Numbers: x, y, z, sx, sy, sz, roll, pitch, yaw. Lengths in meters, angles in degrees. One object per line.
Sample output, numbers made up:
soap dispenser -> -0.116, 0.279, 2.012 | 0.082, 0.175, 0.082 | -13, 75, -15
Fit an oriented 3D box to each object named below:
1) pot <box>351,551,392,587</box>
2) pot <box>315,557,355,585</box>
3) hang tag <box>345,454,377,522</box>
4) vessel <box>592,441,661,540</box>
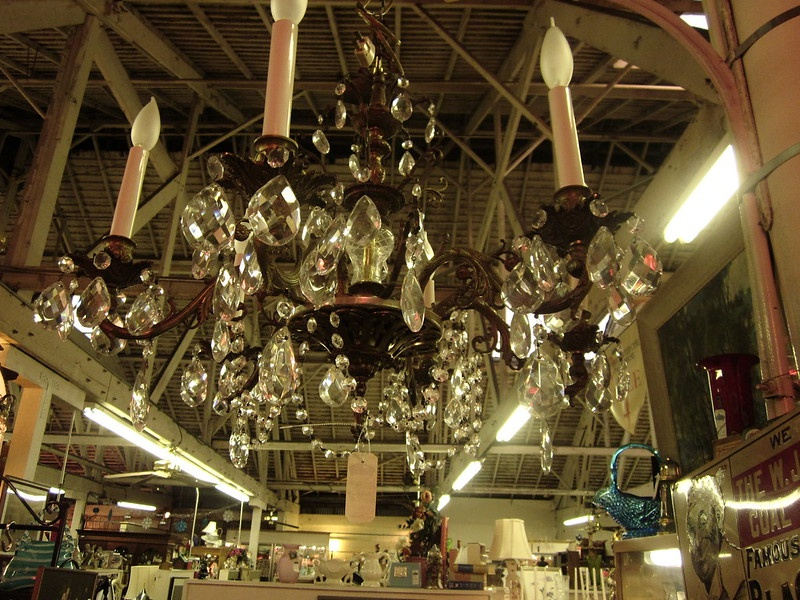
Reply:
pot -> -0.193, 1.838, 4.829 | 0.223, 0.168, 0.123 | -8, -57, 19
pot -> -0.448, 1.842, 4.858 | 0.189, 0.120, 0.198 | 5, -9, 1
hang tag -> -0.199, 0.957, 3.613 | 0.147, 0.360, 0.020 | 3, 3, 2
vessel -> 1.092, 0.898, 3.362 | 0.340, 0.456, 0.159 | -1, -11, 2
